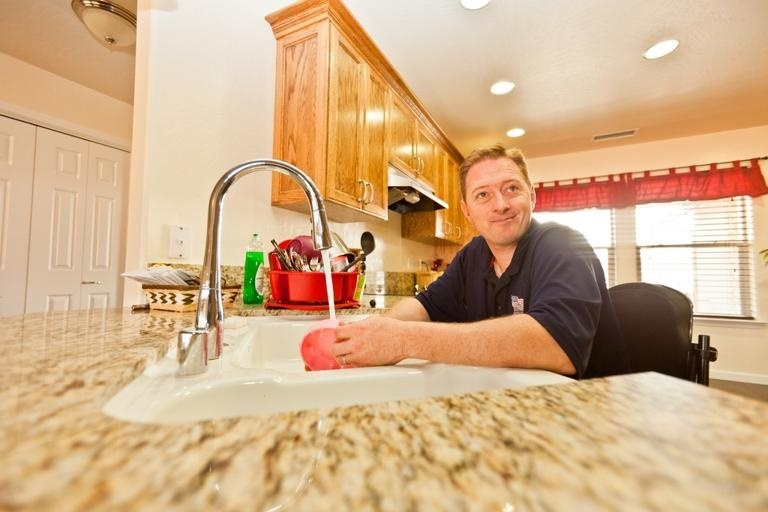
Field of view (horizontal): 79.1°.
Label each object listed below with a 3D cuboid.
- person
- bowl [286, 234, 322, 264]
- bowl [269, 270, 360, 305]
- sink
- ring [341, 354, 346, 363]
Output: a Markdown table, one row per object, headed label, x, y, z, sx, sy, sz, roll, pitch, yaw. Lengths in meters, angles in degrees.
| label | x | y | z | sx | sy | sz | roll | pitch | yaw |
| --- | --- | --- | --- | --- | --- | --- | --- | --- | --- |
| person | 0.501 | 0.041 | 2.338 | 1.556 | 0.997 | 1.191 | -1 | 0 | -35 |
| bowl | -0.448 | -0.042 | 2.582 | 0.198 | 0.172 | 0.190 | 1 | 1 | 0 |
| bowl | -0.403 | 0.176 | 2.652 | 0.586 | 0.189 | 0.591 | 0 | -5 | 0 |
| sink | -0.150 | 0.425 | 1.937 | 1.578 | 0.308 | 0.857 | -1 | -5 | -5 |
| ring | -0.154 | 0.406 | 1.824 | 0.025 | 0.023 | 0.012 | -2 | -15 | 30 |
